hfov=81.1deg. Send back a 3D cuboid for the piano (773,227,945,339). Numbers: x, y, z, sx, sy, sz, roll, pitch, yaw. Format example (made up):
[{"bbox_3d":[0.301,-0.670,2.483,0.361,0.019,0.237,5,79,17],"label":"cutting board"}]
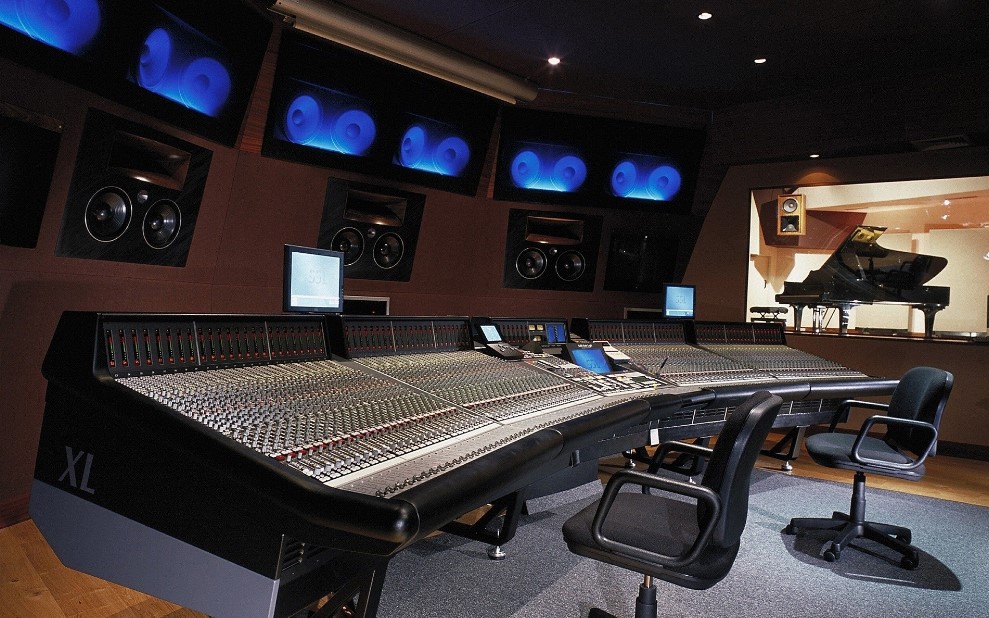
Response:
[{"bbox_3d":[4.051,-0.315,6.417,1.369,1.124,1.065,4,4,37],"label":"piano"}]

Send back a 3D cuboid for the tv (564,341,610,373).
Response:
[{"bbox_3d":[0.643,0.325,3.904,0.364,0.169,0.236,0,10,-18],"label":"tv"}]

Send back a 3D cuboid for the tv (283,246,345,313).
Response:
[{"bbox_3d":[-1.016,-0.158,3.239,0.054,0.341,0.413,-10,-12,41],"label":"tv"}]

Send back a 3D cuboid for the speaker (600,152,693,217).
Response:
[{"bbox_3d":[1.674,-1.362,6.370,0.990,0.599,0.221,4,9,-18],"label":"speaker"}]

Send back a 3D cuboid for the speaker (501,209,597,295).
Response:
[{"bbox_3d":[0.543,-0.646,6.213,0.886,0.697,0.337,4,8,-9],"label":"speaker"}]

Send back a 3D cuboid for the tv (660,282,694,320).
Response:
[{"bbox_3d":[1.664,-0.066,5.274,0.362,0.296,0.047,4,-8,-27],"label":"tv"}]

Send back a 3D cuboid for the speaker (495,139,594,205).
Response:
[{"bbox_3d":[0.504,-1.428,6.004,0.947,0.574,0.213,3,12,-18],"label":"speaker"}]

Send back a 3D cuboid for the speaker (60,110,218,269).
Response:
[{"bbox_3d":[-2.573,-0.875,4.097,0.459,1.174,1.256,0,-1,39],"label":"speaker"}]

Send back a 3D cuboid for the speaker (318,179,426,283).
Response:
[{"bbox_3d":[-1.132,-0.738,5.164,1.046,0.863,0.482,6,-3,-27],"label":"speaker"}]

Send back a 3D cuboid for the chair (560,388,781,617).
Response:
[{"bbox_3d":[0.874,0.841,2.884,0.889,0.918,0.540,7,11,22],"label":"chair"}]
